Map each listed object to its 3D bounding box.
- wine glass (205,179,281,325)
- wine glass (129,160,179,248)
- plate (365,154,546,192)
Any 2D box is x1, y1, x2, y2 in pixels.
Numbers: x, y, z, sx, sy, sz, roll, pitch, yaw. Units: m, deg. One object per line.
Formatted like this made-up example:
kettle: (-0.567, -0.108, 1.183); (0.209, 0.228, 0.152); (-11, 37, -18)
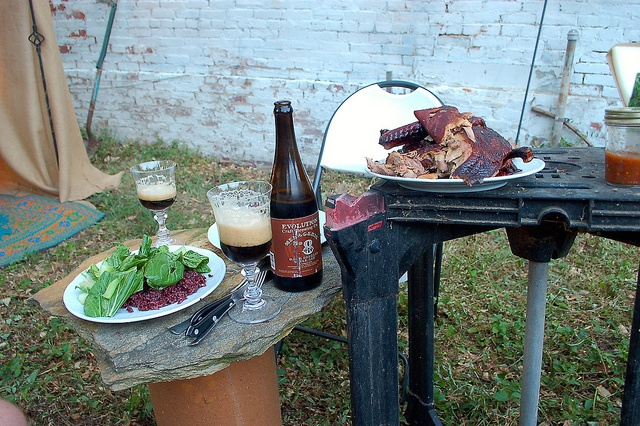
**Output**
wine glass: (-0.298, 0.152, 1.912); (0.256, 0.496, 0.342); (-7, 27, -13)
wine glass: (-0.770, -0.034, 2.267); (0.203, 0.394, 0.393); (-9, 27, -16)
plate: (0.537, -0.142, 1.828); (0.701, 0.082, 0.220); (-3, 26, -6)
